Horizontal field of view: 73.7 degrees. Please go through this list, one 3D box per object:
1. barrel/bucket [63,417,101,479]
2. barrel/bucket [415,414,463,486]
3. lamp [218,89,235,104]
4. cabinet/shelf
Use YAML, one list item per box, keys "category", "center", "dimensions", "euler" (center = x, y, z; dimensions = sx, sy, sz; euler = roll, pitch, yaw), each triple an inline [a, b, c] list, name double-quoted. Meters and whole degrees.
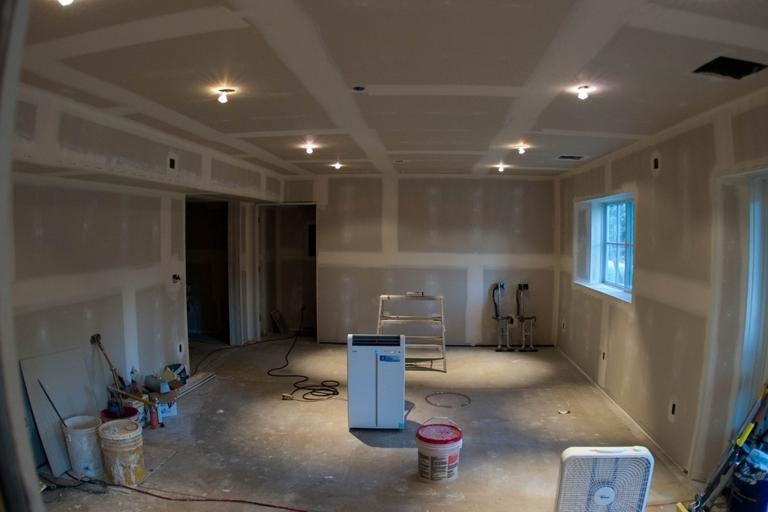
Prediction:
- category: "barrel/bucket"
  center: [-2.926, 1.861, 4.975]
  dimensions: [0.317, 0.595, 0.335]
  euler: [-1, 0, 0]
- category: "barrel/bucket"
  center: [0.541, 1.958, 5.100]
  dimensions: [0.466, 0.526, 0.488]
  euler: [1, -8, 0]
- category: "lamp"
  center: [-1.352, -1.368, 4.385]
  dimensions: [0.091, 0.100, 0.097]
  euler: [22, 27, 2]
- category: "cabinet/shelf"
  center: [0.462, 1.175, 8.012]
  dimensions: [1.149, 1.117, 0.399]
  euler: [0, 2, 3]
